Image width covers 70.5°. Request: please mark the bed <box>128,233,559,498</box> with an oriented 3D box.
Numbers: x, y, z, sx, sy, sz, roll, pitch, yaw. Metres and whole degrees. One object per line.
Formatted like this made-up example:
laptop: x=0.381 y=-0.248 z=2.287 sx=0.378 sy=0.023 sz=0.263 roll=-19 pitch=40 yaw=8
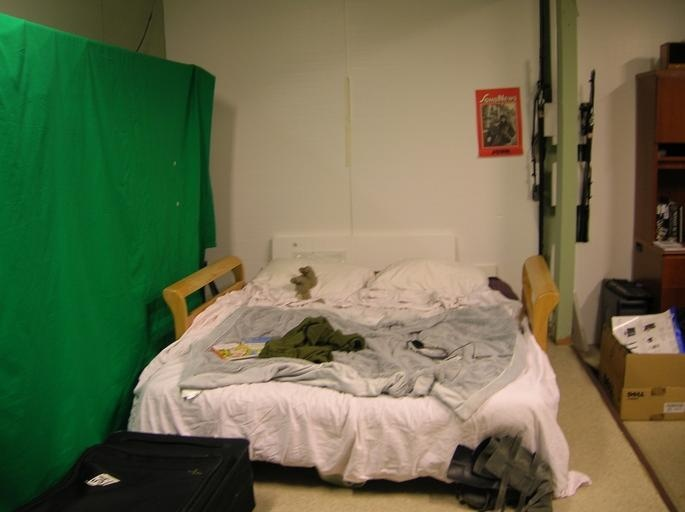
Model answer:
bed: x=0.179 y=0.639 z=3.252 sx=2.406 sy=1.011 sz=1.931 roll=-1 pitch=8 yaw=12
